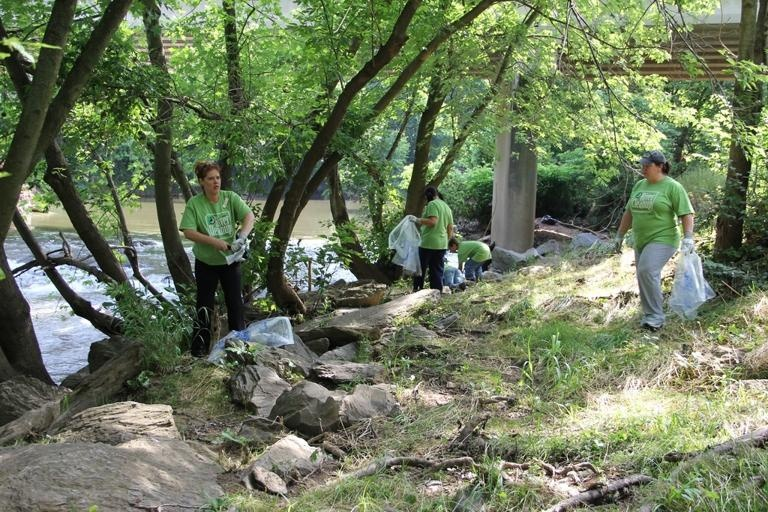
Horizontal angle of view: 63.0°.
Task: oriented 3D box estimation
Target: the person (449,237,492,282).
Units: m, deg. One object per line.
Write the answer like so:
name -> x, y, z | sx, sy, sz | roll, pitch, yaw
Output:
person -> 1.733, 0.087, 12.824 | 0.977, 0.891, 0.586 | 5, 8, 23

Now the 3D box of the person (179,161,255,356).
person -> -1.957, 0.021, 7.317 | 0.886, 2.253, 0.575 | -8, 9, -18

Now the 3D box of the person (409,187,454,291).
person -> 0.786, -0.279, 10.585 | 0.767, 1.787, 1.167 | -5, 8, 4

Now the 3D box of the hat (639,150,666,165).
hat -> 3.305, -1.209, 7.668 | 0.274, 0.129, 0.186 | 11, 11, 5

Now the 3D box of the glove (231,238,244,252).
glove -> -1.683, -0.131, 7.183 | 0.134, 0.139, 0.139 | 6, 12, -6

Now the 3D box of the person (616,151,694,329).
person -> 3.353, -0.237, 7.705 | 0.829, 2.106, 1.004 | -3, 9, 16
